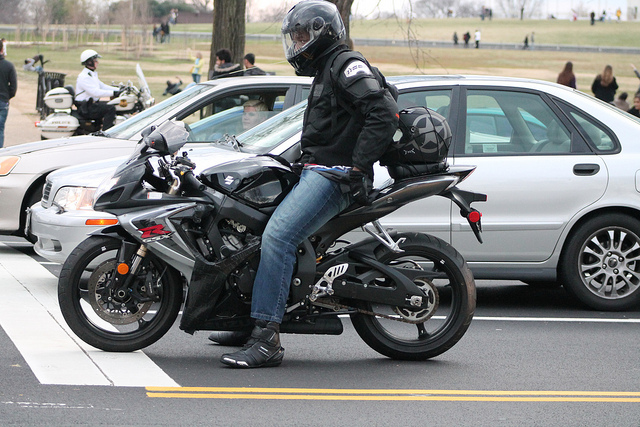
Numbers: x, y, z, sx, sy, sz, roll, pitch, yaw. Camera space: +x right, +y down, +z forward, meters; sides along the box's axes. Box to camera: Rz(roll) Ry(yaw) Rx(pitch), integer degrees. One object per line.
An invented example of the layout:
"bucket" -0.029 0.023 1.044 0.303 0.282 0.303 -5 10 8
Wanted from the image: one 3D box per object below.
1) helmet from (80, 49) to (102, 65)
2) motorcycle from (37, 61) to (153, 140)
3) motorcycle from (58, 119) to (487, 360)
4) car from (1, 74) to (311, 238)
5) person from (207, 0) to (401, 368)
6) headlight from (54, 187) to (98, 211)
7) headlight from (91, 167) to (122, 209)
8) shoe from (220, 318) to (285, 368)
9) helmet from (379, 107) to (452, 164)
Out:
"helmet" -4.932 -3.358 14.279 0.327 0.322 0.507 1 8 -11
"motorcycle" -4.556 -2.236 14.255 3.005 1.667 1.300 -11 26 -39
"motorcycle" -0.352 0.288 5.560 3.496 1.632 0.893 2 3 4
"car" -2.277 -1.143 9.300 5.055 1.492 2.019 0 1 -8
"person" -0.019 -0.213 5.308 1.166 2.947 0.540 2 9 -4
"headlight" -2.669 -0.178 7.348 0.467 0.175 0.341 -1 1 3
"headlight" -1.703 -0.203 5.353 0.211 0.310 0.282 -1 9 -21
"shoe" -0.535 1.032 5.285 0.570 0.370 0.214 8 -11 -39
"helmet" 0.808 -0.645 5.658 0.631 0.446 0.474 -2 -3 5
